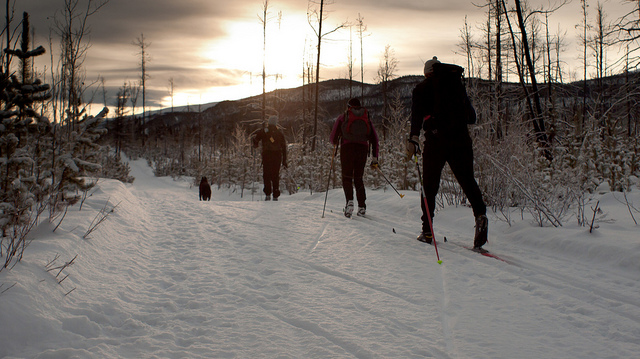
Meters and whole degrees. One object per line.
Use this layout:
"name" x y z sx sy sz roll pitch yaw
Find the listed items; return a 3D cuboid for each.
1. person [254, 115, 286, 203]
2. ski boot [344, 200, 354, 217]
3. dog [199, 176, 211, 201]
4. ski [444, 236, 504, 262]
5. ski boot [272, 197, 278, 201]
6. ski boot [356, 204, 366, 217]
"person" -1.737 -0.655 19.621 1.055 3.174 1.476 -1 14 -5
"ski boot" 0.845 0.832 15.904 0.185 0.504 0.235 10 31 -6
"dog" -5.300 0.488 25.312 0.434 1.241 0.982 -4 15 -16
"ski" 4.085 1.782 13.664 1.014 0.167 0.301 9 17 30
"ski boot" -1.567 0.680 19.396 0.131 0.129 0.097 -9 -9 40
"ski boot" 1.230 0.916 16.161 0.210 0.311 0.311 3 -5 -12
